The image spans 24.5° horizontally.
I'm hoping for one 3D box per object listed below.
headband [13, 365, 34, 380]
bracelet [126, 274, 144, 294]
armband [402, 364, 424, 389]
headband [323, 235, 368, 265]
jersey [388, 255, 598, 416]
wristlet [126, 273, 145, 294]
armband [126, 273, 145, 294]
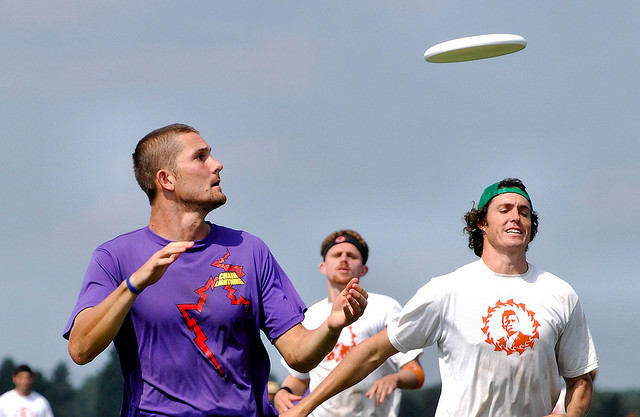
[{"bbox_3d":[-3.311,1.816,16.401,0.155,0.165,0.164,1,4,-6],"label":"headband"},{"bbox_3d":[-1.207,0.490,9.622,0.033,0.098,0.100,-19,-31,6],"label":"bracelet"},{"bbox_3d":[0.776,1.366,12.007,0.171,0.148,0.101,-8,19,41],"label":"armband"},{"bbox_3d":[0.218,0.342,12.486,0.378,0.243,0.267,2,-3,-5],"label":"headband"},{"bbox_3d":[1.283,0.949,10.565,1.361,1.191,0.572,3,-14,2],"label":"jersey"},{"bbox_3d":[-1.220,0.501,9.654,0.118,0.109,0.091,3,-3,-21],"label":"wristlet"},{"bbox_3d":[-1.213,0.488,9.632,0.030,0.099,0.102,-23,-45,1],"label":"armband"}]
